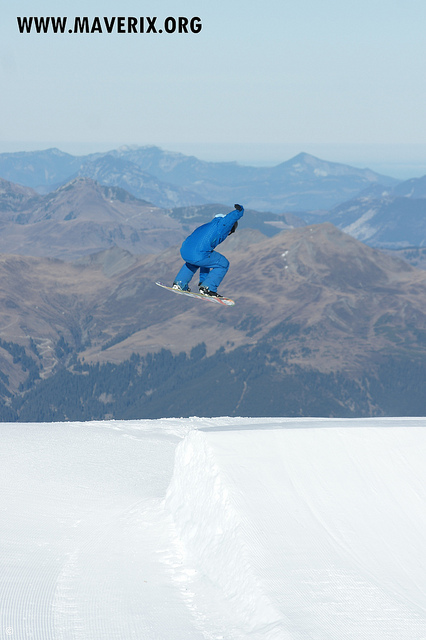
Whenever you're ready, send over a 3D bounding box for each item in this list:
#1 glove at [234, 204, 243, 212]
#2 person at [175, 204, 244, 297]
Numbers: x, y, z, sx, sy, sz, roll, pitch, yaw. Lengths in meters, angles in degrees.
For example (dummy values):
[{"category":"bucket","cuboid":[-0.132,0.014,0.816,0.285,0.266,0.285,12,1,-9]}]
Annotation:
[{"category":"glove","cuboid":[0.467,-2.120,14.959,0.066,0.179,0.074,-33,10,35]},{"category":"person","cuboid":[-0.087,-1.396,15.733,1.427,1.873,0.828,15,24,40]}]
